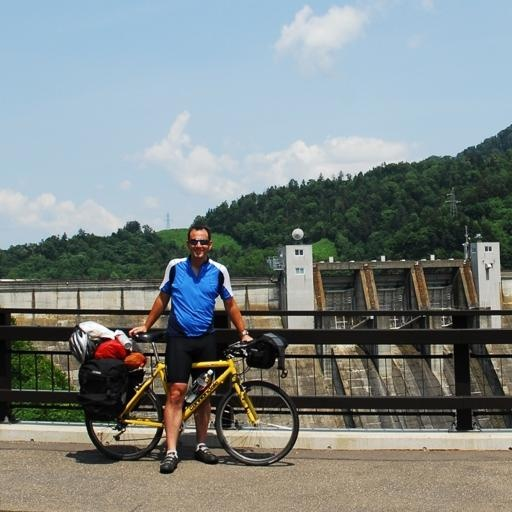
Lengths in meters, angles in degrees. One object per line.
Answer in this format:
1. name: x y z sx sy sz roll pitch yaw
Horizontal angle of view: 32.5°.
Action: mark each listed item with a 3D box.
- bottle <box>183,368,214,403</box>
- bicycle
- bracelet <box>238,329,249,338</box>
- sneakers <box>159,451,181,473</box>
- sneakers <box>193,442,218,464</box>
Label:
1. bottle: -0.490 1.150 7.650 0.242 0.297 0.165 -3 -5 6
2. bicycle: -0.579 1.264 8.142 2.359 1.326 0.842 -1 -1 2
3. bracelet: -0.100 0.704 7.843 0.081 0.082 0.056 -1 3 42
4. sneakers: -0.737 1.749 7.351 0.091 0.094 0.225 3 5 0
5. sneakers: -0.439 1.749 7.619 0.097 0.113 0.280 5 -7 -33
